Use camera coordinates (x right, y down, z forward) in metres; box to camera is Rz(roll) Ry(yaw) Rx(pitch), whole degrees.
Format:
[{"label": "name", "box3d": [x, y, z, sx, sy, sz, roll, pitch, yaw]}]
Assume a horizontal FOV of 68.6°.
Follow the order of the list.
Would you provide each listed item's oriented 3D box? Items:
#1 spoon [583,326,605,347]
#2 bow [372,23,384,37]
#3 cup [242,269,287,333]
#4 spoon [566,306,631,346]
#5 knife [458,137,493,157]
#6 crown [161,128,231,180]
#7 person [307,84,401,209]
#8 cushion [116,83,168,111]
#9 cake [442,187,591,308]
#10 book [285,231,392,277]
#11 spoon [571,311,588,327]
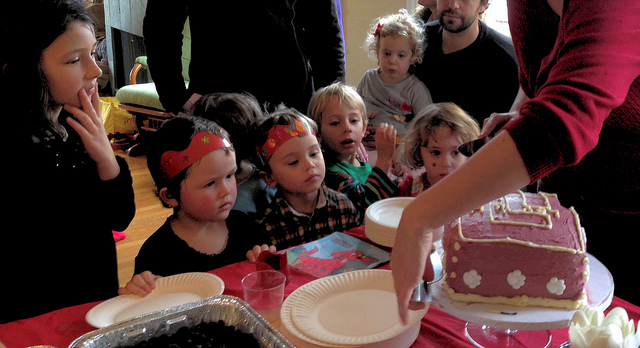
[{"label": "spoon", "box3d": [0.867, 0.514, 1.495, 0.057, 0.056, 0.054, -38, 15, 34]}, {"label": "bow", "box3d": [0.447, -1.120, 3.654, 0.028, 0.102, 0.032, 41, 52, 13]}, {"label": "cup", "box3d": [-0.220, 0.472, 1.863, 0.213, 0.205, 0.208, -9, 14, 2]}, {"label": "spoon", "box3d": [0.910, 0.501, 1.533, 0.163, 0.093, 0.162, -20, -1, 16]}, {"label": "knife", "box3d": [0.650, -0.125, 1.937, 0.227, 0.064, 0.039, -22, -1, -36]}, {"label": "crown", "box3d": [-0.630, -0.103, 2.345, 0.275, 0.108, 0.239, -29, 7, -1]}, {"label": "person", "box3d": [0.219, -0.166, 3.030, 0.631, 0.763, 0.707, -9, 8, -34]}, {"label": "cushion", "box3d": [-1.986, -0.844, 5.198, 0.594, 0.134, 0.704, 17, 18, 28]}, {"label": "cake", "box3d": [0.794, 0.396, 2.129, 0.681, 0.260, 0.634, 5, -3, -12]}, {"label": "book", "box3d": [0.071, 0.373, 2.118, 0.229, 0.030, 0.237, -18, 28, -30]}, {"label": "spoon", "box3d": [0.856, 0.475, 1.547, 0.050, 0.045, 0.048, -2, -3, 11]}]
